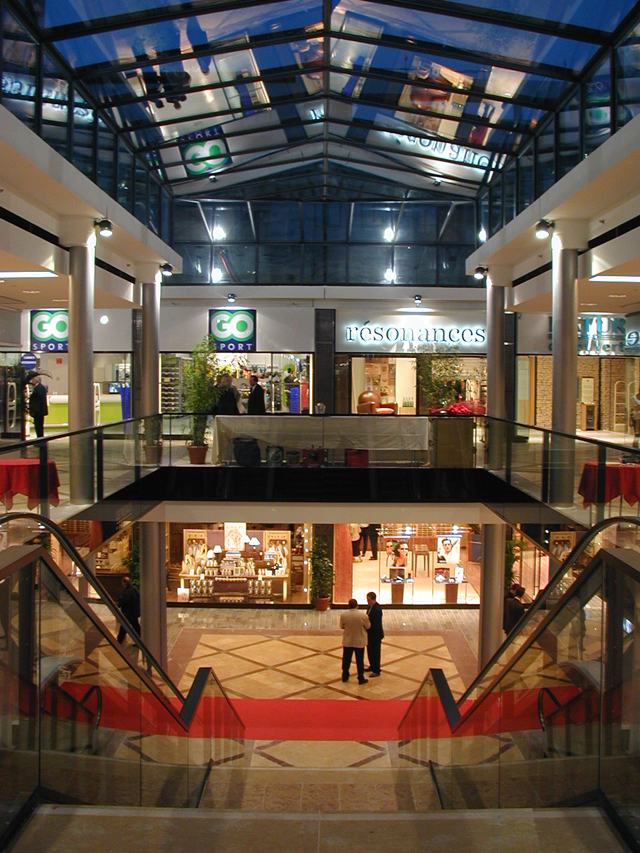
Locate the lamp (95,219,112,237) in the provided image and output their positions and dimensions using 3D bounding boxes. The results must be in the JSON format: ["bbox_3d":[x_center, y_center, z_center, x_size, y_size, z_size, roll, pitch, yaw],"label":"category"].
[{"bbox_3d":[-2.965,-2.764,9.415,0.177,0.223,0.234,3,-8,-25],"label":"lamp"}]

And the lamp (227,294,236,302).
[{"bbox_3d":[-2.249,-3.261,17.370,0.212,0.195,0.449,-1,8,-8],"label":"lamp"}]

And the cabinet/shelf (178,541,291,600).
[{"bbox_3d":[-2.126,3.608,16.340,2.377,0.951,1.494,2,-6,-9],"label":"cabinet/shelf"}]

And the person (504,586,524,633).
[{"bbox_3d":[3.747,3.612,13.281,0.366,0.778,0.792,2,8,16],"label":"person"}]

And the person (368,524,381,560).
[{"bbox_3d":[1.328,2.892,16.974,0.248,0.881,0.332,0,7,4],"label":"person"}]

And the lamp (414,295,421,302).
[{"bbox_3d":[2.475,-3.247,17.410,0.189,0.160,0.318,1,8,8],"label":"lamp"}]

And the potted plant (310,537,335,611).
[{"bbox_3d":[0.015,3.464,15.782,0.532,1.553,0.402,1,7,7],"label":"potted plant"}]

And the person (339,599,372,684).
[{"bbox_3d":[0.603,3.734,12.006,0.471,1.505,0.746,0,7,3],"label":"person"}]

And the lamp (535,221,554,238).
[{"bbox_3d":[3.155,-2.730,9.629,0.180,0.299,0.300,1,29,9],"label":"lamp"}]

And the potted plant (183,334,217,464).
[{"bbox_3d":[-2.140,-0.447,12.278,0.689,2.324,0.578,3,0,32],"label":"potted plant"}]

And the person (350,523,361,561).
[{"bbox_3d":[0.849,2.872,16.777,0.138,0.895,0.434,6,9,38],"label":"person"}]

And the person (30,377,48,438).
[{"bbox_3d":[-5.910,-0.393,14.377,0.323,1.298,2.586,-3,9,-21],"label":"person"}]

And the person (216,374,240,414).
[{"bbox_3d":[-1.644,-0.572,11.986,0.353,0.610,0.874,-1,8,-9],"label":"person"}]
